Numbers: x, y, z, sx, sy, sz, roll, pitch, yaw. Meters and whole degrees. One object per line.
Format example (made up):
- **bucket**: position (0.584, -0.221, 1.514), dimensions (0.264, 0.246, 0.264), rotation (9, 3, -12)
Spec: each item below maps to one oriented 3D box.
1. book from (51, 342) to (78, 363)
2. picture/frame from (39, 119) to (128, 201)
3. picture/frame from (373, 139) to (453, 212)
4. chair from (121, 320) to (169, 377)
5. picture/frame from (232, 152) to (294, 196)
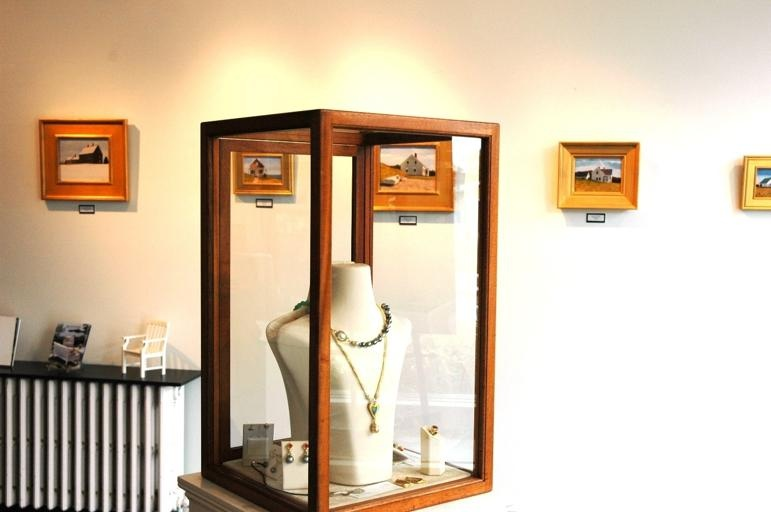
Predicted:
- **book**: position (-2.310, 0.683, 4.964), dimensions (0.161, 0.163, 0.135), rotation (-1, 6, -41)
- **picture/frame**: position (-2.197, -0.701, 5.022), dimensions (0.692, 0.589, 0.051), rotation (1, 5, 10)
- **picture/frame**: position (0.128, -0.348, 3.003), dimensions (0.348, 0.276, 0.032), rotation (0, -3, 16)
- **chair**: position (-1.739, 0.665, 4.980), dimensions (0.323, 0.386, 0.316), rotation (-1, 1, -17)
- **picture/frame**: position (-0.527, -0.354, 3.007), dimensions (0.218, 0.144, 0.015), rotation (1, 0, 23)
